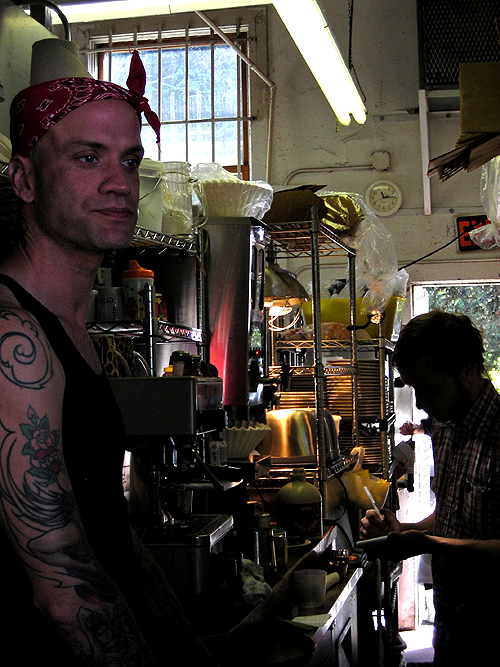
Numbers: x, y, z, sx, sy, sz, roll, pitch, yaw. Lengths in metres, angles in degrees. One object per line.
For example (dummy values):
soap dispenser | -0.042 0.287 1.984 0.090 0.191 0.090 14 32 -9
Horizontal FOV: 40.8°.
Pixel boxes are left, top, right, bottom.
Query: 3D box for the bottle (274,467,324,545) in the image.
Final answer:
bottle | 0.121 0.649 2.513 0.199 0.286 0.193 -1 -22 0

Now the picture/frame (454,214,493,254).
picture/frame | 1.882 -0.849 5.757 0.251 0.326 0.135 1 2 11

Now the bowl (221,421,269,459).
bowl | -0.007 0.385 2.354 0.119 0.132 0.256 2 2 31

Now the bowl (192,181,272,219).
bowl | -0.054 -0.526 2.648 0.194 0.076 0.200 0 -4 0

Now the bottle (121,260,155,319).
bottle | -0.317 -0.123 2.054 0.107 0.208 0.101 1 6 0

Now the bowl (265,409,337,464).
bowl | 0.208 0.428 2.856 0.245 0.156 0.250 -1 -2 0
